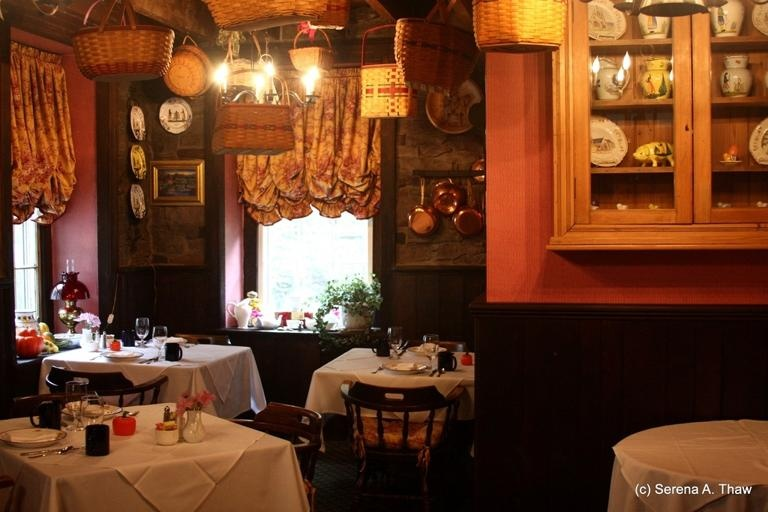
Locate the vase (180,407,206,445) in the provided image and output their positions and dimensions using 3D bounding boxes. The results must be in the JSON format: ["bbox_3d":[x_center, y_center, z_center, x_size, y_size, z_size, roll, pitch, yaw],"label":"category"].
[{"bbox_3d":[-0.947,0.850,3.152,0.125,0.158,0.127,2,0,45],"label":"vase"}]

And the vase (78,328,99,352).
[{"bbox_3d":[-2.455,0.697,5.264,0.213,0.201,0.145,1,-4,3],"label":"vase"}]

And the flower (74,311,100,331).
[{"bbox_3d":[-2.572,0.558,5.462,0.196,0.136,0.186,1,-7,21],"label":"flower"}]

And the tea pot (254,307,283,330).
[{"bbox_3d":[-1.162,0.632,6.380,0.205,0.112,0.221,0,4,0],"label":"tea pot"}]

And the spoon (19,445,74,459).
[{"bbox_3d":[-1.590,0.925,2.973,0.225,0.031,0.066,1,8,-15],"label":"spoon"}]

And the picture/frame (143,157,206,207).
[{"bbox_3d":[-2.099,-0.758,6.362,0.530,0.431,0.037,0,0,3],"label":"picture/frame"}]

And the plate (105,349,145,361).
[{"bbox_3d":[-2.065,0.777,4.996,0.277,0.041,0.419,-2,2,-37],"label":"plate"}]

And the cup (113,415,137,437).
[{"bbox_3d":[-1.303,0.862,3.209,0.098,0.093,0.098,0,-7,0],"label":"cup"}]

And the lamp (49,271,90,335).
[{"bbox_3d":[-2.730,0.418,5.494,0.269,0.562,0.716,-2,1,-25],"label":"lamp"}]

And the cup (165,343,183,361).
[{"bbox_3d":[-1.615,0.732,4.805,0.130,0.143,0.071,-1,1,-5],"label":"cup"}]

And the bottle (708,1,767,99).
[{"bbox_3d":[1.698,-0.988,3.003,0.274,0.461,0.052,-1,1,-7],"label":"bottle"}]

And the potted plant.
[{"bbox_3d":[-0.231,0.605,6.297,0.783,1.043,0.745,0,-4,-4],"label":"potted plant"}]

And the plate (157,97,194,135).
[{"bbox_3d":[-2.092,-1.406,6.378,0.342,0.340,0.051,5,8,2],"label":"plate"}]
